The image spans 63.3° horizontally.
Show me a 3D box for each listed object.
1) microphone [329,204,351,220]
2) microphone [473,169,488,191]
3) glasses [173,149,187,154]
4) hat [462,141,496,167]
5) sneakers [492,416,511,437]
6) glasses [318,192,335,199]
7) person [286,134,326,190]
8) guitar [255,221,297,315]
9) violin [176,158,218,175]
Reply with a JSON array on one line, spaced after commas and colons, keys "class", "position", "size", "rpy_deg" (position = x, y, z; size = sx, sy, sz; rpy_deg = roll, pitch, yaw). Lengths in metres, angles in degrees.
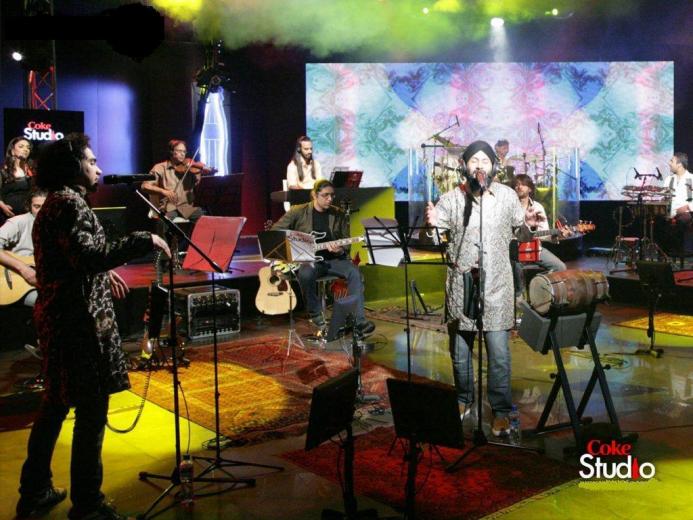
[{"class": "microphone", "position": [-0.091, -0.595, 7.036], "size": [0.188, 0.095, 0.250], "rpy_deg": [1, -1, -14]}, {"class": "microphone", "position": [0.936, -0.561, 3.909], "size": [0.095, 0.094, 0.257], "rpy_deg": [19, 7, 0]}, {"class": "glasses", "position": [-2.661, -1.735, 9.010], "size": [0.088, 0.094, 0.218], "rpy_deg": [3, 6, 30]}, {"class": "hat", "position": [0.974, -0.781, 4.088], "size": [0.250, 0.181, 0.190], "rpy_deg": [0, 6, 6]}, {"class": "sneakers", "position": [1.142, 1.220, 4.134], "size": [0.195, 0.130, 0.076], "rpy_deg": [-1, 1, -38]}, {"class": "glasses", "position": [-0.235, -0.770, 6.783], "size": [0.205, 0.065, 0.109], "rpy_deg": [-5, 7, -40]}, {"class": "person", "position": [-0.636, -1.519, 9.428], "size": [0.682, 0.964, 0.780], "rpy_deg": [3, 23, 5]}, {"class": "guitar", "position": [-0.961, 0.180, 7.614], "size": [0.557, 1.251, 0.160], "rpy_deg": [-1, -29, -6]}, {"class": "violin", "position": [-2.472, -1.489, 9.134], "size": [0.558, 0.260, 0.107], "rpy_deg": [13, -30, -4]}]
